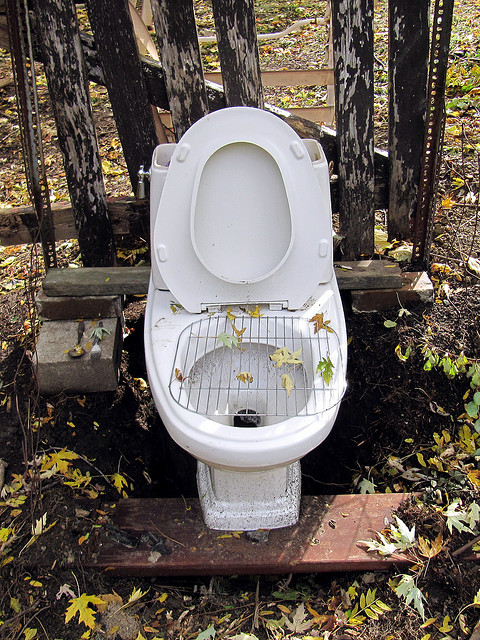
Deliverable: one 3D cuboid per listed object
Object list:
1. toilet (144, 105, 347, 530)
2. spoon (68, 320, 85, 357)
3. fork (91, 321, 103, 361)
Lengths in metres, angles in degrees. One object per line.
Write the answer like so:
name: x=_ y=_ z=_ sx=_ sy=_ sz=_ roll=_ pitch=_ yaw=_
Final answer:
toilet: x=-0.012 y=-0.074 z=1.448 sx=0.597 sy=0.956 sz=0.738 roll=0 pitch=21 yaw=10
spoon: x=-0.581 y=0.063 z=1.910 sx=0.040 sy=0.035 sz=0.133 roll=21 pitch=49 yaw=-4
fork: x=-0.521 y=0.096 z=1.893 sx=0.035 sy=0.061 sz=0.088 roll=-8 pitch=21 yaw=-13
